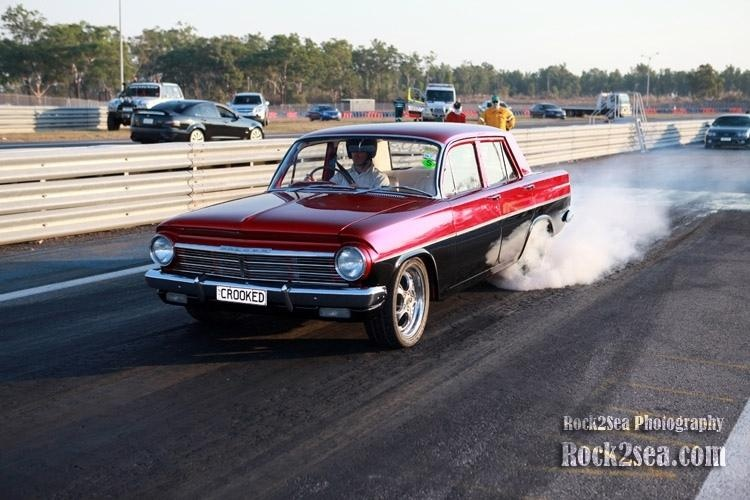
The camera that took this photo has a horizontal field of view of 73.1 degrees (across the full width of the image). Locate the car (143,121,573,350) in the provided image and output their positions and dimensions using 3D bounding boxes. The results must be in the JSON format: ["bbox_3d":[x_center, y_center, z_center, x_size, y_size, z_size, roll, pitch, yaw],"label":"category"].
[{"bbox_3d":[-0.083,-0.346,5.705,2.125,2.125,4.233,13,19,40],"label":"car"}]

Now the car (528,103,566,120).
[{"bbox_3d":[23.404,-18.935,68.999,3.048,2.020,3.990,-13,20,-43],"label":"car"}]

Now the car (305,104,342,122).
[{"bbox_3d":[-6.492,-17.081,62.953,3.926,1.807,1.874,8,16,28],"label":"car"}]

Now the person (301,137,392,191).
[{"bbox_3d":[-0.302,-0.931,5.779,1.014,0.752,0.599,8,13,12],"label":"person"}]
